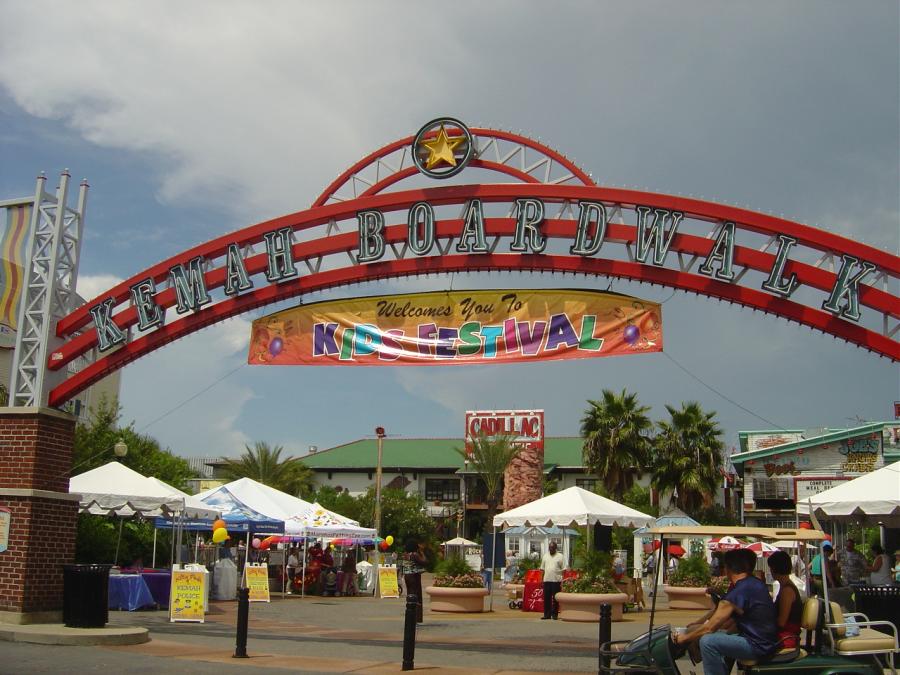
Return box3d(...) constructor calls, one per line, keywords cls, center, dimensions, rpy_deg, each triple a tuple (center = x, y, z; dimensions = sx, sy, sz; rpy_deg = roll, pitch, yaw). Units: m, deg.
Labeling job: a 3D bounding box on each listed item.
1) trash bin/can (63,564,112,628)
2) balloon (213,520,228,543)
box3d(cls="trash bin/can", center=(-7.932, 5.721, 27.280), dimensions=(1.249, 1.616, 1.136), rpy_deg=(-1, -21, -5))
box3d(cls="balloon", center=(-6.583, 5.597, 35.409), dimensions=(0.385, 0.383, 0.987), rpy_deg=(2, -1, -4))
